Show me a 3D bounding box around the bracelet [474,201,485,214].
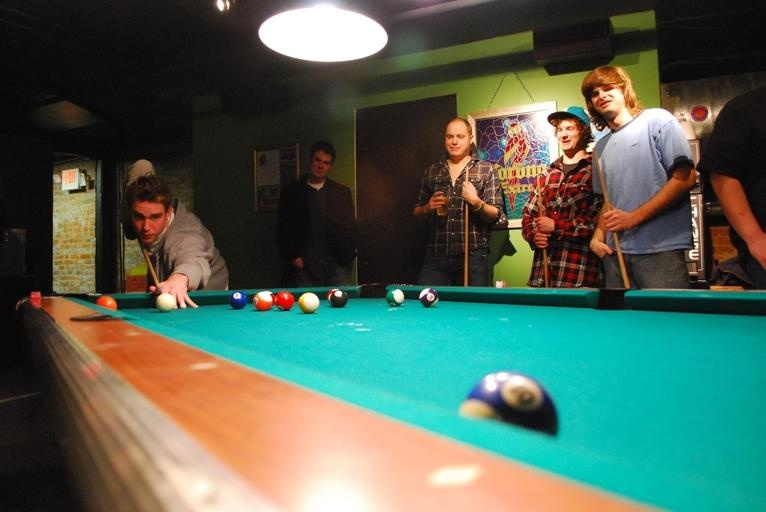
[{"bbox_3d":[0.916,-0.461,5.339,0.068,0.089,0.085,-4,0,-39],"label":"bracelet"}]

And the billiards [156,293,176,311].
[{"bbox_3d":[-1.210,0.257,3.189,0.103,0.099,0.097,5,12,-1],"label":"billiards"}]

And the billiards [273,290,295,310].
[{"bbox_3d":[-0.565,0.256,3.292,0.101,0.100,0.101,5,4,16],"label":"billiards"}]

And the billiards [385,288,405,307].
[{"bbox_3d":[0.084,0.249,3.420,0.097,0.094,0.094,2,-4,-32],"label":"billiards"}]

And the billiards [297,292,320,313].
[{"bbox_3d":[-0.397,0.256,3.131,0.104,0.102,0.104,14,5,32],"label":"billiards"}]

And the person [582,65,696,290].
[{"bbox_3d":[1.768,-0.578,4.047,0.519,1.610,0.809,-4,0,-16],"label":"person"}]

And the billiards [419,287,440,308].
[{"bbox_3d":[0.270,0.240,3.305,0.101,0.098,0.099,-3,-9,1],"label":"billiards"}]

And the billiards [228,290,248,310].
[{"bbox_3d":[-0.846,0.260,3.344,0.094,0.101,0.095,6,5,-10],"label":"billiards"}]
